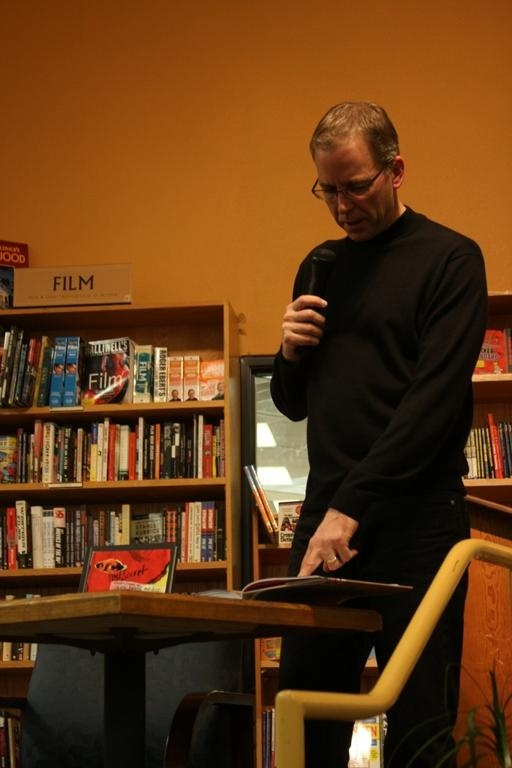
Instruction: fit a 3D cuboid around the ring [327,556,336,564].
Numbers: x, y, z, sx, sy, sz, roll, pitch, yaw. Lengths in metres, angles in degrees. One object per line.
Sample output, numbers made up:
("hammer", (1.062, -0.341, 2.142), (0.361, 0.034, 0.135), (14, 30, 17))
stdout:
("ring", (0.110, 0.255, 0.985), (0.015, 0.013, 0.034), (0, -7, 7))
